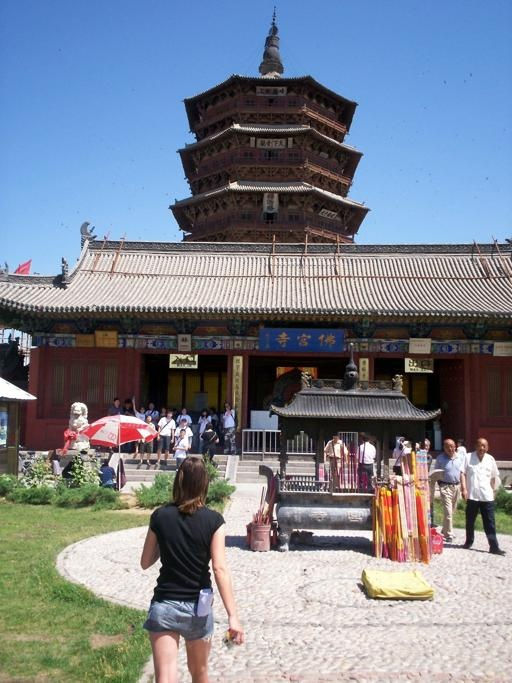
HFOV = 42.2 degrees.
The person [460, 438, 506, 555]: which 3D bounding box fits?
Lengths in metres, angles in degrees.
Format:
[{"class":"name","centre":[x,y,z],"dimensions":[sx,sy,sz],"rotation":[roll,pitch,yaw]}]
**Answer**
[{"class":"person","centre":[3.270,2.216,9.539],"dimensions":[0.551,1.607,0.749],"rotation":[-1,-5,19]}]

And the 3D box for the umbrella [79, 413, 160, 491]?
[{"class":"umbrella","centre":[-2.946,2.432,14.345],"dimensions":[1.575,1.666,1.642],"rotation":[-6,11,-44]}]

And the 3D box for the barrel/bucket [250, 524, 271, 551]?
[{"class":"barrel/bucket","centre":[0.059,2.778,9.411],"dimensions":[0.288,0.368,0.231],"rotation":[1,-4,-3]}]

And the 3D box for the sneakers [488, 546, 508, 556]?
[{"class":"sneakers","centre":[3.407,2.953,9.356],"dimensions":[0.223,0.103,0.310],"rotation":[-1,-4,20]}]
